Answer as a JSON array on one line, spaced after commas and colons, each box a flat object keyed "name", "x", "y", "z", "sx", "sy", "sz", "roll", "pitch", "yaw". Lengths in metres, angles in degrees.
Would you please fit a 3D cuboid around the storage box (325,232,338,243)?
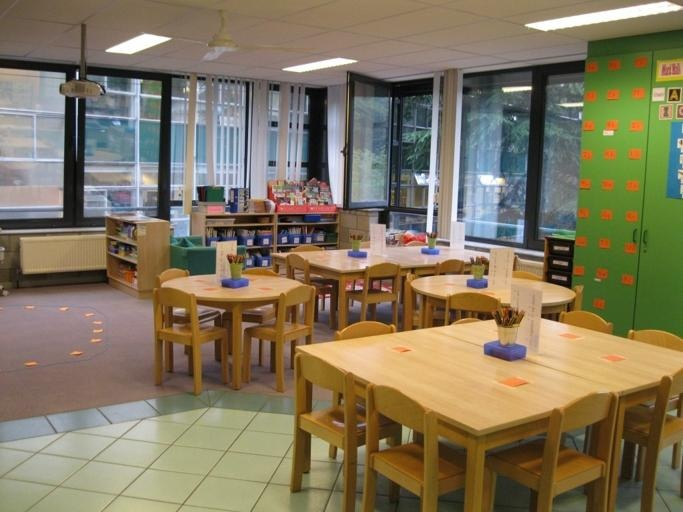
[{"name": "storage box", "x": -0.175, "y": -0.325, "z": 10.098, "sx": 0.177, "sy": 0.128, "sz": 0.180, "roll": 3, "pitch": 4, "yaw": 38}]

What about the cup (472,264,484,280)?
[{"name": "cup", "x": 1.342, "y": 0.158, "z": 5.377, "sx": 0.142, "sy": 0.151, "sz": 0.139, "roll": 1, "pitch": 9, "yaw": 0}]

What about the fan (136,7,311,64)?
[{"name": "fan", "x": -1.317, "y": -2.263, "z": 5.777, "sx": 1.017, "sy": 0.325, "sz": 1.035, "roll": 3, "pitch": 4, "yaw": 44}]

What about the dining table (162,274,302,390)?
[{"name": "dining table", "x": -0.991, "y": 0.515, "z": 5.126, "sx": 1.128, "sy": 0.686, "sz": 1.076, "roll": 7, "pitch": 9, "yaw": 43}]

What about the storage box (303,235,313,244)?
[{"name": "storage box", "x": -0.597, "y": -0.291, "z": 9.865, "sx": 0.242, "sy": 0.173, "sz": 0.138, "roll": -4, "pitch": 8, "yaw": -43}]

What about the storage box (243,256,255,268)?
[{"name": "storage box", "x": -1.546, "y": 0.112, "z": 9.175, "sx": 0.154, "sy": 0.142, "sz": 0.193, "roll": 2, "pitch": 3, "yaw": 45}]

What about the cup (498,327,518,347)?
[{"name": "cup", "x": 1.075, "y": 0.524, "z": 3.589, "sx": 0.128, "sy": 0.111, "sz": 0.122, "roll": 1, "pitch": 7, "yaw": 0}]

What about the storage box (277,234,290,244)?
[{"name": "storage box", "x": -1.021, "y": -0.289, "z": 9.656, "sx": 0.254, "sy": 0.172, "sz": 0.141, "roll": -3, "pitch": 5, "yaw": -41}]

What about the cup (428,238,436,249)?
[{"name": "cup", "x": 1.172, "y": -0.161, "z": 7.116, "sx": 0.129, "sy": 0.134, "sz": 0.123, "roll": 1, "pitch": 8, "yaw": 0}]

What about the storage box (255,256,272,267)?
[{"name": "storage box", "x": -1.335, "y": 0.100, "z": 9.398, "sx": 0.245, "sy": 0.148, "sz": 0.168, "roll": -3, "pitch": 8, "yaw": -28}]

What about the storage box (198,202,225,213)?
[{"name": "storage box", "x": -2.139, "y": -0.788, "z": 9.009, "sx": 0.412, "sy": 0.193, "sz": 0.227, "roll": -1, "pitch": 12, "yaw": -13}]

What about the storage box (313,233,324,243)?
[{"name": "storage box", "x": -0.409, "y": -0.329, "z": 9.949, "sx": 0.151, "sy": 0.176, "sz": 0.254, "roll": -4, "pitch": 11, "yaw": -23}]

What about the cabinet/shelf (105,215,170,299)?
[{"name": "cabinet/shelf", "x": -2.941, "y": 0.008, "z": 7.904, "sx": 0.479, "sy": 1.017, "sz": 1.196, "roll": 0, "pitch": 6, "yaw": -31}]

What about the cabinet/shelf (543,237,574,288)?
[{"name": "cabinet/shelf", "x": 2.722, "y": 0.076, "z": 6.769, "sx": 0.139, "sy": 0.603, "sz": 0.489, "roll": -5, "pitch": 13, "yaw": -26}]

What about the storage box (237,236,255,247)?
[{"name": "storage box", "x": -1.604, "y": -0.249, "z": 9.304, "sx": 0.162, "sy": 0.128, "sz": 0.203, "roll": -1, "pitch": 1, "yaw": -39}]

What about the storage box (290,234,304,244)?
[{"name": "storage box", "x": -0.808, "y": -0.293, "z": 9.755, "sx": 0.230, "sy": 0.148, "sz": 0.157, "roll": -3, "pitch": 9, "yaw": -31}]

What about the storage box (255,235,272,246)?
[{"name": "storage box", "x": -1.322, "y": -0.265, "z": 9.473, "sx": 0.190, "sy": 0.128, "sz": 0.182, "roll": -2, "pitch": 6, "yaw": -18}]

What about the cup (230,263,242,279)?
[{"name": "cup", "x": -0.989, "y": 0.147, "z": 5.251, "sx": 0.134, "sy": 0.140, "sz": 0.131, "roll": 0, "pitch": 4, "yaw": 0}]

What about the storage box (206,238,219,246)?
[{"name": "storage box", "x": -2.019, "y": -0.214, "z": 8.535, "sx": 0.227, "sy": 0.154, "sz": 0.121, "roll": 1, "pitch": -1, "yaw": -34}]
